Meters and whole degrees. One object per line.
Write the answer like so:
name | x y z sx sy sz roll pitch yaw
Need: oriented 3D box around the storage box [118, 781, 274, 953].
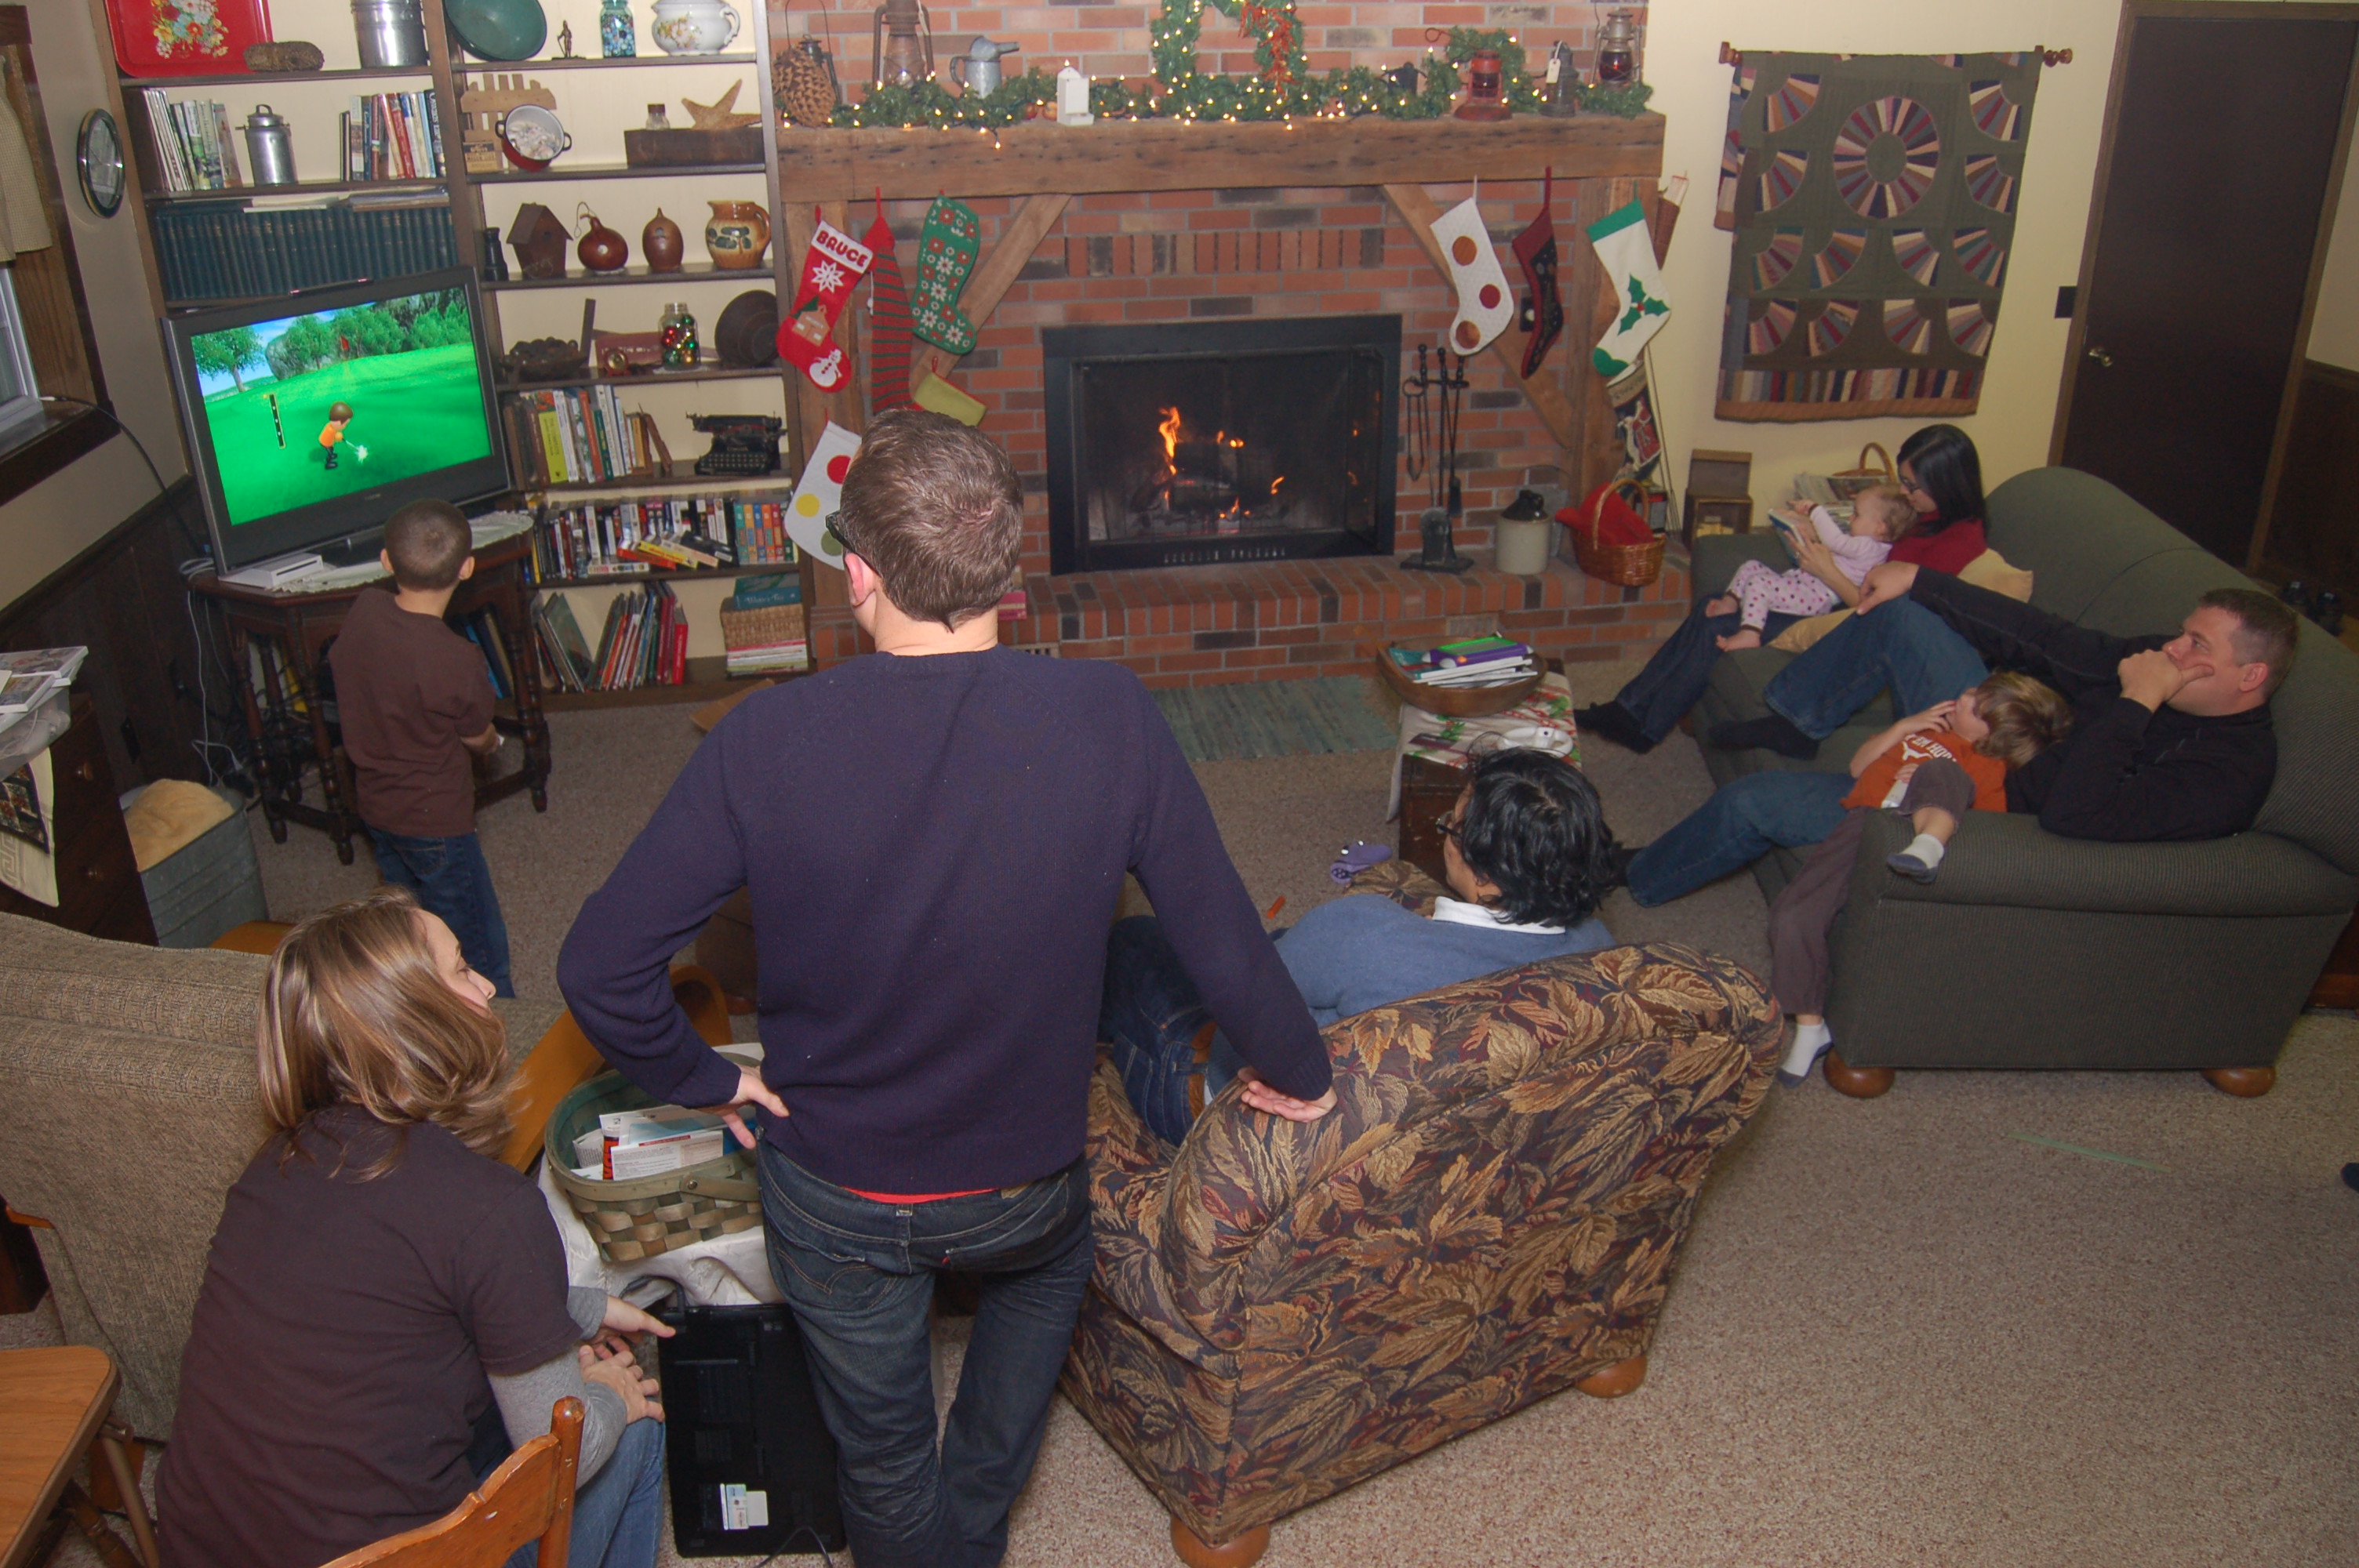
storage box | -2.747 0.237 4.724 0.303 0.272 0.304 -13 50 -17

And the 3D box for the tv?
tv | -2.811 -1.225 5.906 1.227 0.898 0.332 -8 4 14

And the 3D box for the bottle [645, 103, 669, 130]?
bottle | -1.944 -2.503 6.336 0.076 0.090 0.266 -6 22 -13

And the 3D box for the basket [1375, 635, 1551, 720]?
basket | 0.907 -0.348 5.371 0.328 0.122 0.315 -4 21 0

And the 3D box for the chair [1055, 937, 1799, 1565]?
chair | 0.378 0.874 3.766 1.400 1.170 1.280 -12 28 -21

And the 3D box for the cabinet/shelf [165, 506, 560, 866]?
cabinet/shelf | -2.770 -0.340 5.993 1.010 0.961 0.739 1 14 -7

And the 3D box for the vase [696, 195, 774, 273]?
vase | -1.649 -2.084 6.488 0.282 0.256 0.222 22 37 12

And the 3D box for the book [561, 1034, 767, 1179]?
book | -1.123 0.596 3.565 0.324 0.156 0.435 -3 11 -20

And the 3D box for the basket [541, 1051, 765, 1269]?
basket | -1.065 0.779 3.431 0.439 0.270 0.545 -10 31 -26

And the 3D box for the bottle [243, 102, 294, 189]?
bottle | -3.272 -2.297 6.119 0.156 0.278 0.315 -11 24 -24

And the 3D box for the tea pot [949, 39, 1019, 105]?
tea pot | -0.729 -2.657 6.328 0.316 0.307 0.175 1 28 -5

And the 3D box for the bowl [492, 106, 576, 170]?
bowl | -2.371 -2.371 6.214 0.295 0.256 0.112 2 14 -17

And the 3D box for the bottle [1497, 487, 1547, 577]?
bottle | 1.411 -1.020 6.974 0.196 0.346 0.338 -1 26 2

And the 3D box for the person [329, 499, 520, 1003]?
person | -2.182 0.005 5.007 0.464 1.757 0.542 20 34 7
